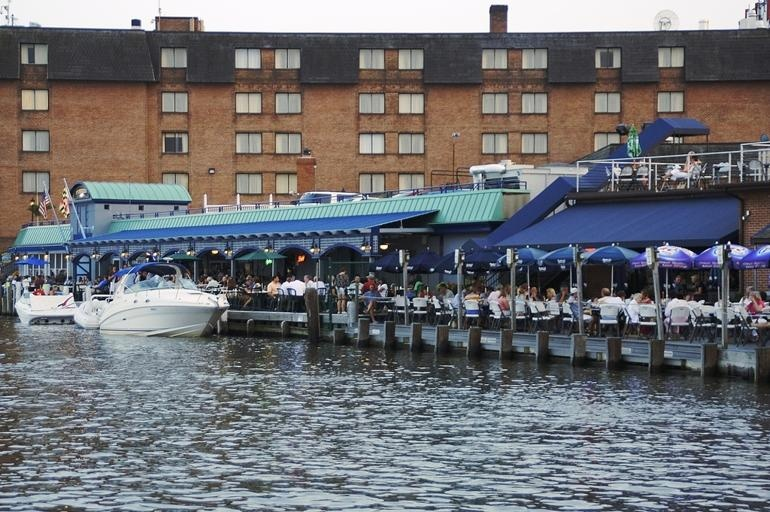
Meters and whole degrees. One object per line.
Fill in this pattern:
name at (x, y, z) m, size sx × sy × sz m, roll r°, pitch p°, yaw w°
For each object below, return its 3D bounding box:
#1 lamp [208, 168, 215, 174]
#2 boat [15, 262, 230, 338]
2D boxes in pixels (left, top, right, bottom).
lamp at (-12.266, -6.307, 139.908) m, size 0.464 × 0.410 × 0.105 m, roll -1°, pitch 5°, yaw 1°
boat at (-13.639, 2.431, 105.489) m, size 12.002 × 3.428 × 3.628 m, roll -7°, pitch -5°, yaw 43°
